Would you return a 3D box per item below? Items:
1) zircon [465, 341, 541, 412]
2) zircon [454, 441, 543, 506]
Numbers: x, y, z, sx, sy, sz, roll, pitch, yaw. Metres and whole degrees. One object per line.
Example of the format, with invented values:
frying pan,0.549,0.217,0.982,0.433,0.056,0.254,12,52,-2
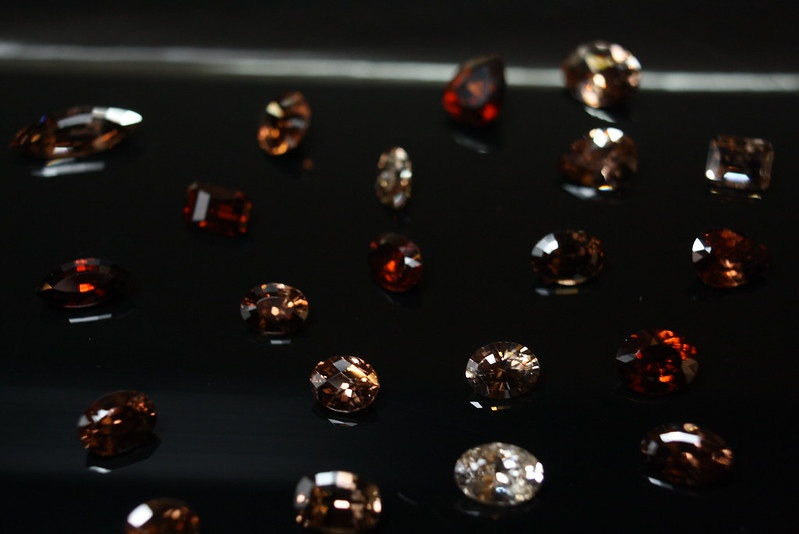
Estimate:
zircon,0.139,0.148,1.091,0.124,0.076,0.081,-3,19,-1
zircon,0.125,0.262,1.013,0.109,0.043,0.067,9,42,13
